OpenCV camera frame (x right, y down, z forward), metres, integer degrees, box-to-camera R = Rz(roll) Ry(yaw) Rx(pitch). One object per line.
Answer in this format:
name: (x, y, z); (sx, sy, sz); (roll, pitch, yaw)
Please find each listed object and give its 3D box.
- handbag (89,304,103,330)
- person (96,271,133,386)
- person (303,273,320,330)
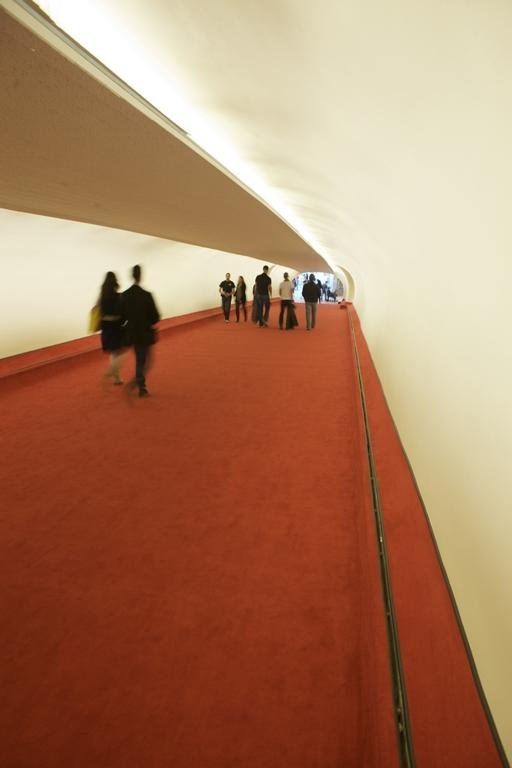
handbag: (-1.679, -0.686, 4.561); (0.124, 0.269, 0.168); (-6, 8, -22)
person: (-1.639, -0.634, 4.985); (0.298, 1.173, 1.013); (-5, 8, -19)
person: (1.586, -2.448, 12.755); (0.443, 1.605, 0.474); (-8, 31, -11)
